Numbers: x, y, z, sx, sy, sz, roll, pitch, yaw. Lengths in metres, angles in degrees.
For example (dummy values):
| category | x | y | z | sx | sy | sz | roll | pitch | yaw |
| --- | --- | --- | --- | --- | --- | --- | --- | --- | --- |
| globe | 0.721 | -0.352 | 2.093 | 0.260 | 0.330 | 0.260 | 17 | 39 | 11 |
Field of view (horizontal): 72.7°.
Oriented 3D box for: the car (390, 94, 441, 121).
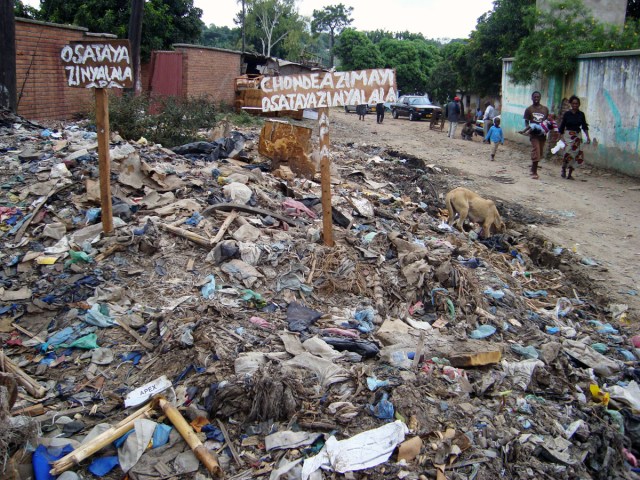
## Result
| category | x | y | z | sx | sy | sz | roll | pitch | yaw |
| --- | --- | --- | --- | --- | --- | --- | --- | --- | --- |
| car | 6.269 | -8.684 | 28.468 | 1.356 | 1.697 | 3.754 | -1 | 17 | -19 |

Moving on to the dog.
| category | x | y | z | sx | sy | sz | roll | pitch | yaw |
| --- | --- | --- | --- | --- | --- | --- | --- | --- | --- |
| dog | 2.950 | -0.402 | 8.161 | 1.337 | 0.798 | 0.389 | 16 | -10 | -15 |

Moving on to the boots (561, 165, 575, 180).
| category | x | y | z | sx | sy | sz | roll | pitch | yaw |
| --- | --- | --- | --- | --- | --- | --- | --- | --- | --- |
| boots | 6.846 | -1.848 | 11.996 | 0.217 | 0.389 | 0.399 | -10 | 24 | -10 |

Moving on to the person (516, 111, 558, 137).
| category | x | y | z | sx | sy | sz | roll | pitch | yaw |
| --- | --- | --- | --- | --- | --- | --- | --- | --- | --- |
| person | 6.132 | -3.186 | 12.292 | 0.918 | 0.656 | 1.274 | 1 | 12 | 6 |
